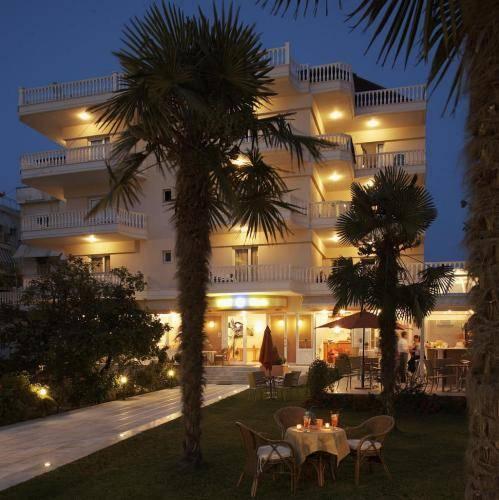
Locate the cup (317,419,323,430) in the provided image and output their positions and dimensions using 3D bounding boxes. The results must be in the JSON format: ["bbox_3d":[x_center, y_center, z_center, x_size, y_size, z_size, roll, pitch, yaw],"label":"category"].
[{"bbox_3d":[0.978,2.459,10.350,0.091,0.113,0.098,1,5,0],"label":"cup"}]

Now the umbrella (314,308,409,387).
[{"bbox_3d":[2.702,2.440,18.999,2.148,2.101,2.264,-6,-9,33],"label":"umbrella"}]

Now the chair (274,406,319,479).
[{"bbox_3d":[0.637,2.792,10.935,0.770,1.131,0.805,0,-16,-8],"label":"chair"}]

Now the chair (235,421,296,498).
[{"bbox_3d":[0.251,2.871,10.309,0.920,1.331,0.794,0,-5,-17],"label":"chair"}]

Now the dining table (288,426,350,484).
[{"bbox_3d":[0.872,2.873,10.291,0.889,0.764,0.971,5,-2,7],"label":"dining table"}]

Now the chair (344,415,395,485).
[{"bbox_3d":[1.661,2.876,10.623,0.629,0.882,0.702,2,-4,-26],"label":"chair"}]

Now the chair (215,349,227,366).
[{"bbox_3d":[-1.067,4.214,28.616,0.550,0.720,0.542,1,-7,2],"label":"chair"}]

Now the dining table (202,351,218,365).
[{"bbox_3d":[-1.460,4.223,28.552,0.473,0.526,1.140,1,-8,-3],"label":"dining table"}]

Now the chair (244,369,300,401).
[{"bbox_3d":[0.671,3.717,19.788,0.997,0.574,1.076,-1,-4,17],"label":"chair"}]
